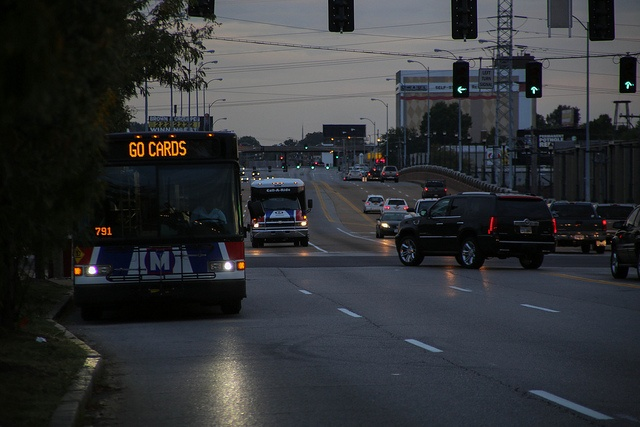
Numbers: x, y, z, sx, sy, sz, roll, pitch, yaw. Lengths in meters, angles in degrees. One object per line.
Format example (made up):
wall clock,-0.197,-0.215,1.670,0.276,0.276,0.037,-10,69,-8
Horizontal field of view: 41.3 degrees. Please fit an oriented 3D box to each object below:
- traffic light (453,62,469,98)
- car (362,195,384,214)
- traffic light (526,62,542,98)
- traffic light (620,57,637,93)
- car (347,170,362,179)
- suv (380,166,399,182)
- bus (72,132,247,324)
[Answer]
traffic light,5.220,-5.021,31.573,0.524,1.279,0.983,-1,5,4
car,4.722,-0.818,75.008,1.339,1.109,2.800,0,9,0
traffic light,8.069,-5.082,32.104,0.534,1.315,0.913,0,5,9
traffic light,11.451,-5.188,31.684,0.565,1.342,0.658,0,5,12
car,5.644,-6.214,137.135,2.331,1.411,3.911,-1,5,2
suv,10.118,-5.690,123.571,2.174,2.225,2.874,-1,5,-3
bus,-3.089,0.002,16.871,2.612,2.659,9.932,0,2,-11
